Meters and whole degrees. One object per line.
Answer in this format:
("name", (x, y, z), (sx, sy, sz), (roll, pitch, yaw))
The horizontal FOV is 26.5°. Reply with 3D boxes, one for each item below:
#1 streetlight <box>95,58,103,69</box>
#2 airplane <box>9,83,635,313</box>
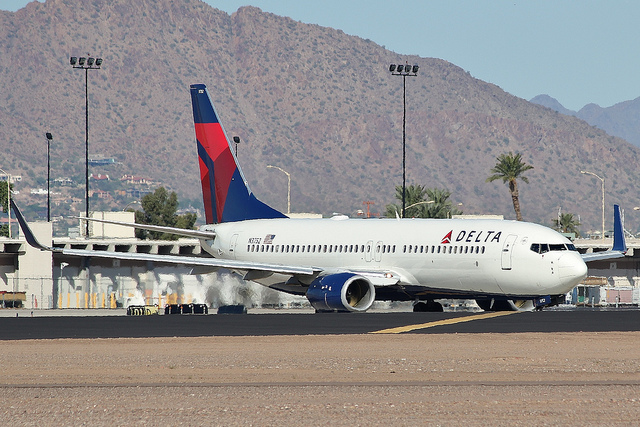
("streetlight", (-22.048, -14.793, 135.274), (0.705, 0.924, 0.233), (7, 9, 28))
("airplane", (3.180, 0.015, 118.449), (59.654, 15.293, 18.687), (0, -2, -1))
